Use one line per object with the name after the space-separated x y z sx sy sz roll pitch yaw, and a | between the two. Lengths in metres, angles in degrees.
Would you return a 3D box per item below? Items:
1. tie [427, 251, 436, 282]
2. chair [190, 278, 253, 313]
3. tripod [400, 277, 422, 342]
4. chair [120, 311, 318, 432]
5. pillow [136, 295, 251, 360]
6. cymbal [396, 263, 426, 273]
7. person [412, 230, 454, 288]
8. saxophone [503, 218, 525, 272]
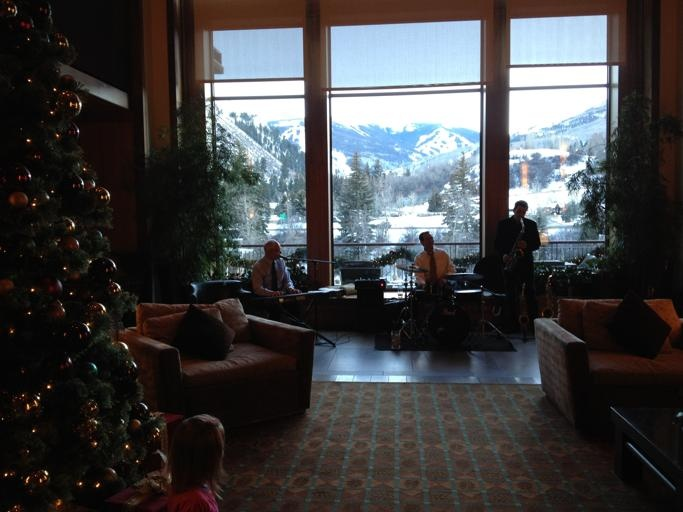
1.231 0.145 7.805 0.120 0.372 0.293 1 6 10 | tie
-1.474 0.424 6.791 0.558 0.527 0.438 2 -3 -40 | chair
0.929 0.684 7.765 0.281 0.760 0.689 0 6 5 | tripod
-1.164 1.037 5.243 1.706 1.063 1.692 -4 -2 -13 | chair
-1.285 0.631 4.968 0.549 0.188 0.548 9 24 -12 | pillow
0.904 0.171 7.218 0.329 0.138 0.426 1 7 15 | cymbal
1.279 0.063 8.001 0.513 0.916 0.499 -9 -5 -16 | person
2.330 -0.152 7.780 0.270 0.690 0.393 1 6 18 | saxophone
